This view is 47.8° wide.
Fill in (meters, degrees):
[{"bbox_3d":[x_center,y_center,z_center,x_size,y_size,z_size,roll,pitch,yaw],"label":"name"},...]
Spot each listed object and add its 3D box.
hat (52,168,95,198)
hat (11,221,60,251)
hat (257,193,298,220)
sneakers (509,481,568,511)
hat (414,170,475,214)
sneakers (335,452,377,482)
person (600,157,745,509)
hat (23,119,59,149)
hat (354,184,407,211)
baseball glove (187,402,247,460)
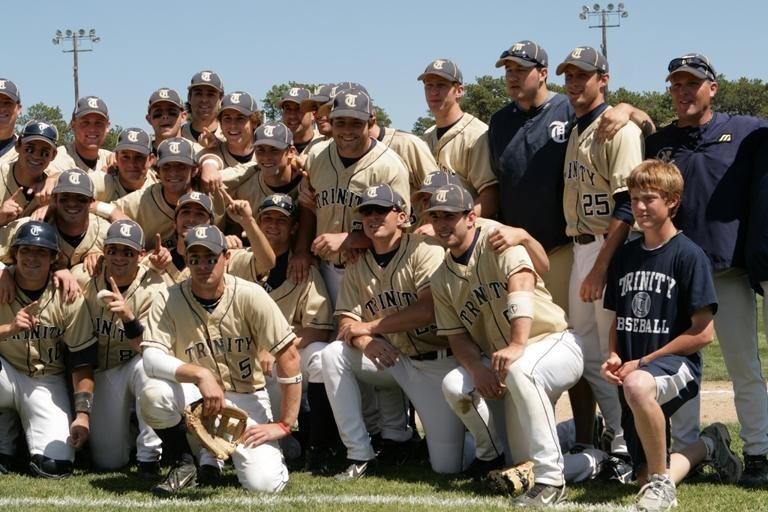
[{"bbox_3d":[-3.769,-0.937,10.531,0.465,0.371,0.255,0,-4,-19],"label":"hat"},{"bbox_3d":[-4.048,-0.277,10.081,0.514,0.375,0.303,0,-4,-21],"label":"hat"},{"bbox_3d":[-1.360,-0.697,11.093,0.447,0.362,0.455,-1,-4,-4],"label":"hat"},{"bbox_3d":[1.548,2.417,8.705,0.564,0.222,0.205,0,-3,-29],"label":"sneakers"},{"bbox_3d":[0.732,-0.754,9.849,0.443,0.406,0.699,-5,-10,33],"label":"hat"},{"bbox_3d":[-0.322,2.396,9.816,0.180,0.216,0.509,-3,5,39],"label":"sneakers"},{"bbox_3d":[2.865,0.727,9.005,1.254,3.579,0.945,-2,-4,-1],"label":"person"},{"bbox_3d":[-4.410,-1.642,11.069,0.458,0.410,0.438,0,-4,-23],"label":"hat"},{"bbox_3d":[-0.016,-0.740,10.138,0.528,0.325,0.246,0,-4,-27],"label":"hat"},{"bbox_3d":[-1.779,1.824,9.184,0.298,0.561,0.718,-35,-44,30],"label":"baseball glove"}]
